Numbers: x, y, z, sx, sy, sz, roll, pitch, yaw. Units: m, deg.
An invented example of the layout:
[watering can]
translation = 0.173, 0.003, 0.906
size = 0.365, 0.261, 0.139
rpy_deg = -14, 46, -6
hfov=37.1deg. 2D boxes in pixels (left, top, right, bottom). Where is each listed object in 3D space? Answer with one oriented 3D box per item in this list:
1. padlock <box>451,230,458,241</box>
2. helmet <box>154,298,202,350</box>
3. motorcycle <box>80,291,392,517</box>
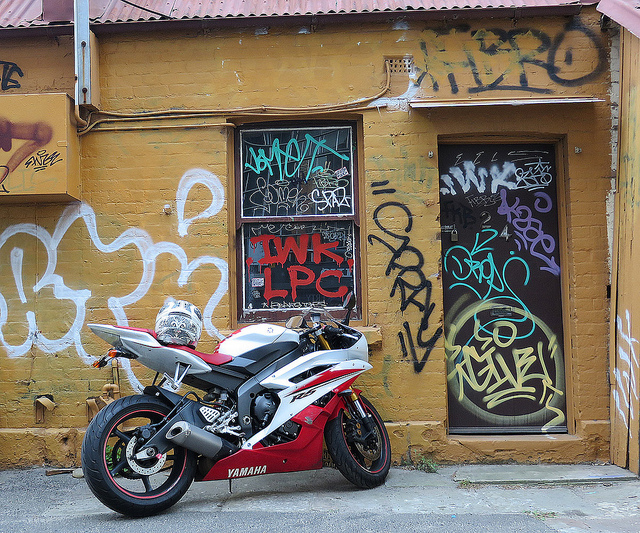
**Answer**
[padlock]
translation = 1.395, -0.318, 9.844
size = 0.068, 0.110, 0.044
rpy_deg = -1, 12, -1
[helmet]
translation = -1.274, 0.519, 8.632
size = 0.485, 0.437, 0.532
rpy_deg = 8, -18, -2
[motorcycle]
translation = -0.597, 1.277, 8.779
size = 3.605, 1.652, 1.188
rpy_deg = 4, -13, -44
